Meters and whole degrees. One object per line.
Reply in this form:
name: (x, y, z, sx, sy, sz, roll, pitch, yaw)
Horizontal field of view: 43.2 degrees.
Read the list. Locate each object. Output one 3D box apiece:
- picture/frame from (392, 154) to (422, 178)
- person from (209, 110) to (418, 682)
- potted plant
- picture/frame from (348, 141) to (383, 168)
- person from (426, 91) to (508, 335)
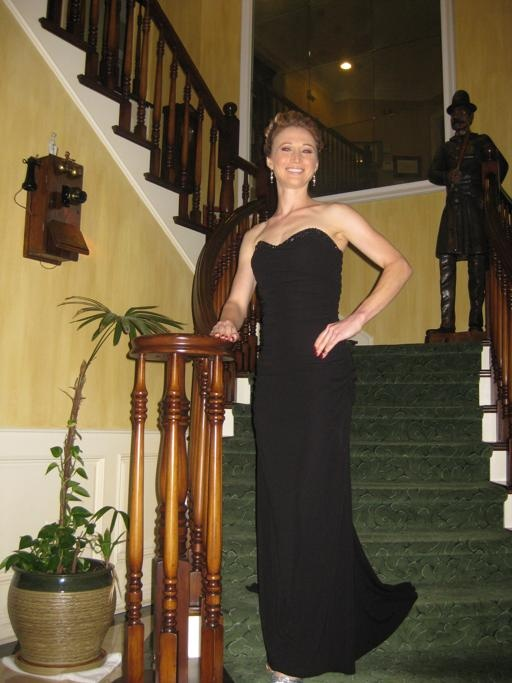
picture/frame: (1.466, -1.682, 6.223, 0.345, 0.320, 0.034, -2, -30, 6)
person: (0.136, 0.161, 1.901, 0.534, 1.716, 0.512, 1, -7, -5)
potted plant: (-0.772, 0.531, 2.935, 0.661, 1.638, 0.873, 1, -7, -8)
picture/frame: (1.140, -1.888, 6.569, 0.275, 0.362, 0.298, 0, 12, -1)
person: (1.479, -0.898, 4.499, 0.453, 1.704, 0.876, 1, -7, -8)
